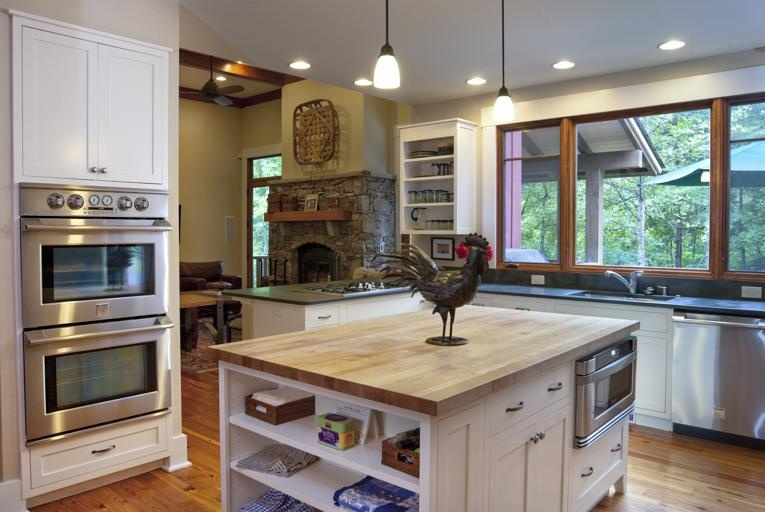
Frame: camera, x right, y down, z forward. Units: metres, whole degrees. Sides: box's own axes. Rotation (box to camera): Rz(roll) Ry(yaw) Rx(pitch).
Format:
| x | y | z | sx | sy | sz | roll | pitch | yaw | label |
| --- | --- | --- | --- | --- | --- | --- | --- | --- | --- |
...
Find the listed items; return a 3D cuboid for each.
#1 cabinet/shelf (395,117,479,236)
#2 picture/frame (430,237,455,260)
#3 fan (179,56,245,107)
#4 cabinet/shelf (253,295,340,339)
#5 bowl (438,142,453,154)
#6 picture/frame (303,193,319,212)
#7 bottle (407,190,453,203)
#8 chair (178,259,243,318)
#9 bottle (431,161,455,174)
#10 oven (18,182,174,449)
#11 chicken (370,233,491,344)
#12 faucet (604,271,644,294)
| x | y | z | sx | sy | sz | roll | pitch | yaw | label |
| --- | --- | --- | --- | --- | --- | --- | --- | --- | --- |
| 0.617 | -0.941 | 6.474 | 0.828 | 1.013 | 0.422 | 0 | -1 | 28 | cabinet/shelf |
| 0.753 | -0.091 | 6.729 | 0.306 | 0.259 | 0.026 | 3 | 2 | 43 | picture/frame |
| -2.154 | -2.272 | 6.876 | 0.826 | 0.470 | 0.777 | -6 | 8 | -27 | fan |
| -0.853 | 0.584 | 4.957 | 0.838 | 0.354 | 0.367 | 2 | 6 | 20 | cabinet/shelf |
| 0.717 | -1.233 | 6.285 | 0.151 | 0.099 | 0.150 | -1 | 2 | 0 | bowl |
| -1.059 | -0.799 | 8.217 | 0.338 | 0.307 | 0.034 | -3 | -17 | 36 | picture/frame |
| 0.549 | -0.700 | 6.445 | 0.594 | 0.141 | 0.169 | 5 | 8 | 42 | bottle |
| -2.908 | 0.504 | 9.162 | 1.140 | 0.764 | 1.064 | 0 | 5 | -16 | chair |
| 0.701 | -1.028 | 6.406 | 0.301 | 0.163 | 0.125 | 4 | 7 | 35 | bottle |
| -2.336 | 0.382 | 4.185 | 1.033 | 1.760 | 1.170 | 2 | 3 | 42 | oven |
| 0.390 | 0.270 | 4.249 | 0.989 | 0.765 | 0.310 | 0 | -5 | 2 | chicken |
| 2.397 | 0.262 | 5.514 | 0.334 | 0.227 | 0.228 | 4 | 7 | 37 | faucet |
